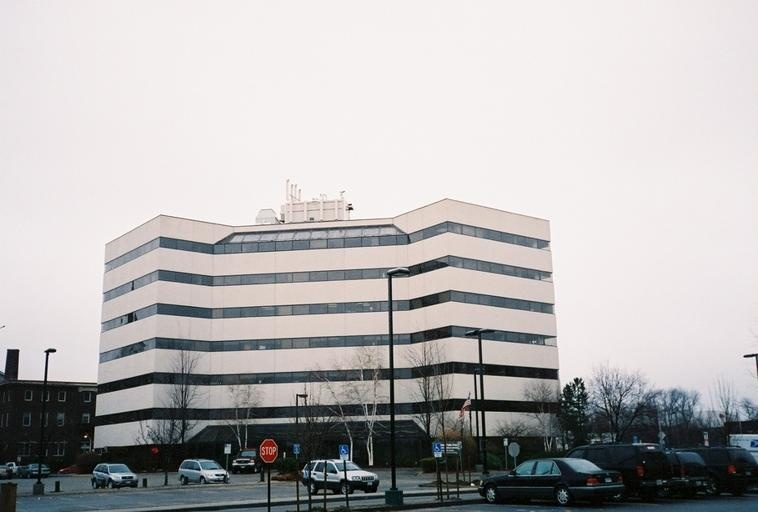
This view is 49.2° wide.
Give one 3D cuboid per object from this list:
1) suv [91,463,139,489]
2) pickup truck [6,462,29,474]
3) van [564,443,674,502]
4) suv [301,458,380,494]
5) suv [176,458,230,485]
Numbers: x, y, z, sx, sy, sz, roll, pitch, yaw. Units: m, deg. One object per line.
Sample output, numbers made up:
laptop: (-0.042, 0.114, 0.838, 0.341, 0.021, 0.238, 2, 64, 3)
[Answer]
suv: (-23.670, 19.781, 74.016, 2.001, 1.664, 5.717, -5, 2, -43)
pickup truck: (-45.512, 26.626, 104.436, 2.105, 1.782, 3.718, 5, -18, -27)
van: (16.475, 14.203, 54.830, 3.126, 3.419, 7.781, 4, -11, -25)
suv: (-3.183, 17.365, 65.217, 3.236, 2.796, 6.731, 7, -14, -44)
suv: (-15.815, 19.567, 74.947, 2.288, 1.955, 4.709, 11, -21, -39)
